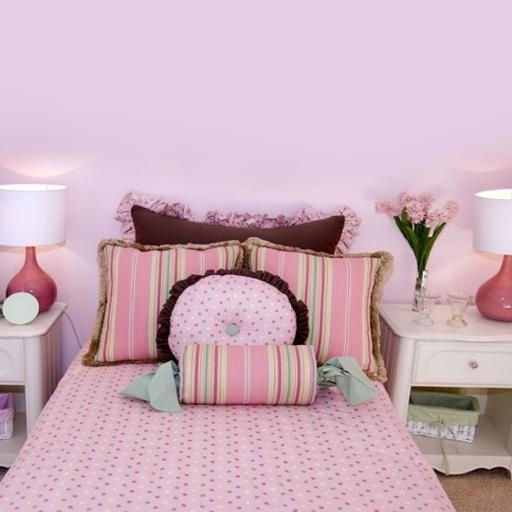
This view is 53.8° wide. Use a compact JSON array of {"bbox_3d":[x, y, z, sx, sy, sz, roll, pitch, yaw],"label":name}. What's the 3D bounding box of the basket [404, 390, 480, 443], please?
[{"bbox_3d":[0.792,0.665,2.152,0.229,0.087,0.265,0,-3,14],"label":"basket"}]
